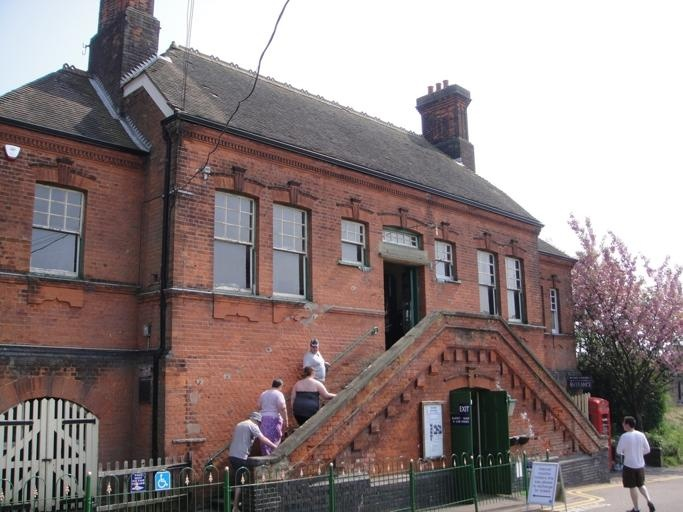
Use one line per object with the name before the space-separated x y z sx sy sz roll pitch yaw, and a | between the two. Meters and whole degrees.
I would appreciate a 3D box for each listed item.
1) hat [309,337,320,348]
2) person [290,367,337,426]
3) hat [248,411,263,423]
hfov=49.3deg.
hat | -0.746 2.307 19.856 0.160 0.227 0.229 2 -33 -7
person | -0.821 3.703 18.832 0.925 1.811 0.734 4 5 -4
hat | -2.009 3.671 17.316 0.253 0.199 0.351 2 -26 13
